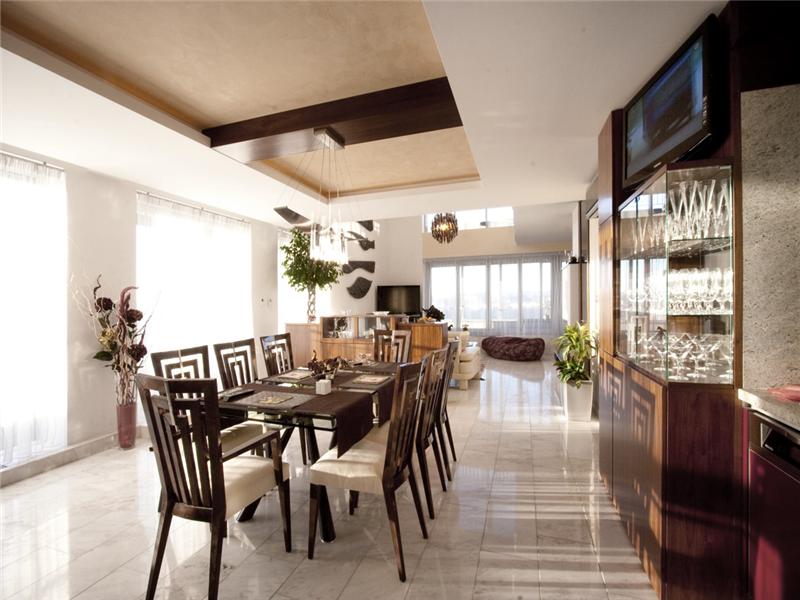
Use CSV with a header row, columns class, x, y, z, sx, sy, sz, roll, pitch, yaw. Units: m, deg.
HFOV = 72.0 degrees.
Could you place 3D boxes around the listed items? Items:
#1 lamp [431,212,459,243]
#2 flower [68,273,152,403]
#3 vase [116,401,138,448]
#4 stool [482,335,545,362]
class,x,y,z,sx,sy,sz,roll,pitch,yaw
lamp,0.755,-1.280,9.938,0.516,0.643,0.531,-1,2,-11
flower,-2.870,0.409,5.609,0.528,1.289,0.500,5,12,27
vase,-2.795,1.272,5.643,0.189,0.471,0.149,-7,12,-30
stool,2.392,1.064,11.921,1.277,0.544,0.722,8,13,42
